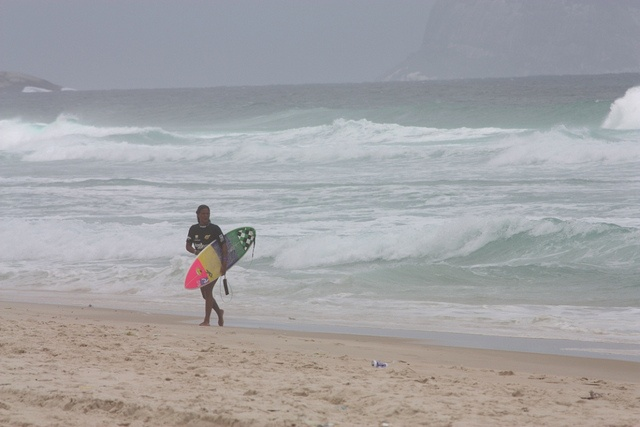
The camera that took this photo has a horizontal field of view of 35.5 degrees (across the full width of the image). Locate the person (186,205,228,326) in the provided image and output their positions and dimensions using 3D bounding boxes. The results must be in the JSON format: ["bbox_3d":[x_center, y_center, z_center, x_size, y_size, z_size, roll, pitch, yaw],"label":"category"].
[{"bbox_3d":[-2.862,1.301,25.364,1.140,3.100,0.729,6,3,-6],"label":"person"}]

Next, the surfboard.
[{"bbox_3d":[-2.670,1.087,25.580,2.783,0.817,0.390,-36,16,-30],"label":"surfboard"}]
